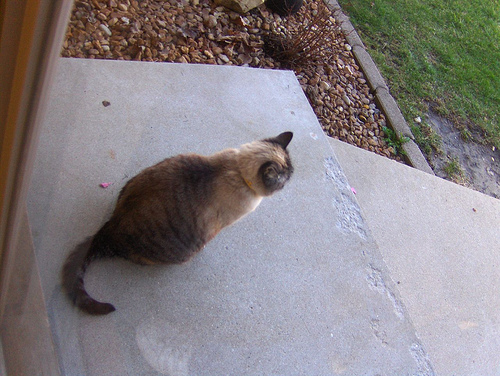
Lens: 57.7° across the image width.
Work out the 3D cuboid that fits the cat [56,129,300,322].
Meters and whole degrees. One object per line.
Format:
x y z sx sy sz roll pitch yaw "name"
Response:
-0.427 0.277 2.759 1.266 0.600 0.796 -23 73 -12 "cat"
